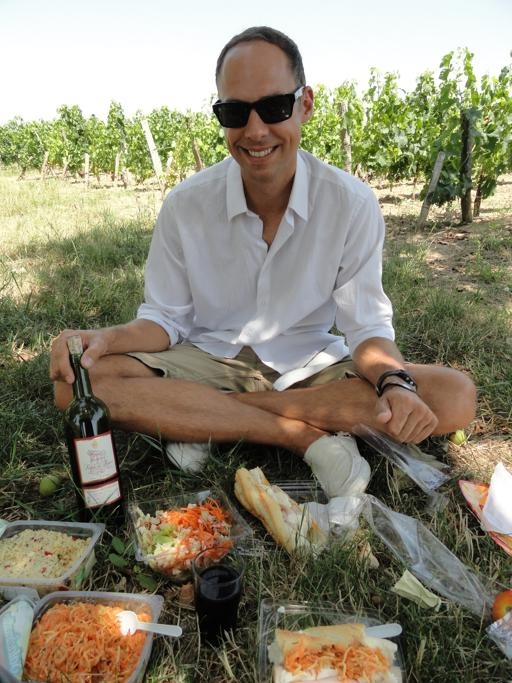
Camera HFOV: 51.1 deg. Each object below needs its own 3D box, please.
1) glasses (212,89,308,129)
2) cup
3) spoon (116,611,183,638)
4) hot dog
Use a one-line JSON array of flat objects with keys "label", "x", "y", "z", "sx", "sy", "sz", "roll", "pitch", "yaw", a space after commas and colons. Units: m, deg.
[{"label": "glasses", "x": -0.015, "y": -0.923, "z": 2.154, "sx": 0.334, "sy": 0.133, "sz": 0.115, "roll": 2, "pitch": 16, "yaw": 6}, {"label": "cup", "x": -0.100, "y": 0.670, "z": 1.353, "sx": 0.097, "sy": 0.230, "sz": 0.119, "roll": -10, "pitch": 19, "yaw": -31}, {"label": "spoon", "x": -0.271, "y": 0.682, "z": 1.315, "sx": 0.214, "sy": 0.054, "sz": 0.029, "roll": 4, "pitch": 2, "yaw": 9}, {"label": "hot dog", "x": 0.080, "y": 0.545, "z": 1.745, "sx": 0.136, "sy": 0.112, "sz": 0.379, "roll": -5, "pitch": 16, "yaw": -24}]
